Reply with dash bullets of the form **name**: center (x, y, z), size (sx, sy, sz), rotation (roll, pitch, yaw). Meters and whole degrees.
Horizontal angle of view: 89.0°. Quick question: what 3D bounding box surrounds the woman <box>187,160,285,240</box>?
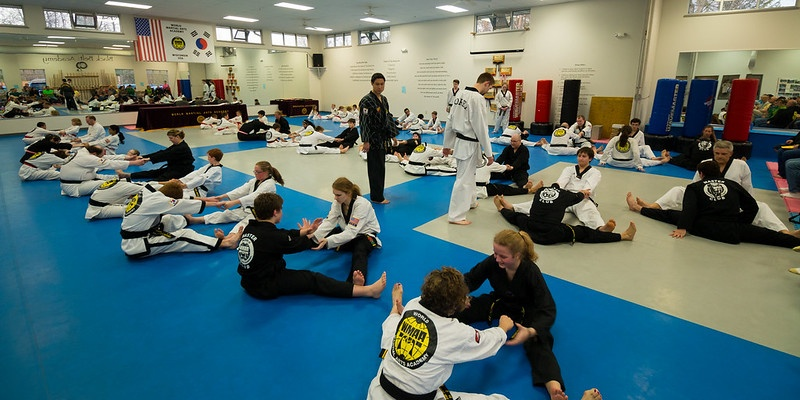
- **woman**: center (-4.103, -0.042, 10.629), size (2.555, 1.487, 1.348), rotation (-18, 27, -36)

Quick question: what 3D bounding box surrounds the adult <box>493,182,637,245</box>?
- **adult**: center (4.072, 0.315, 10.653), size (3.616, 1.090, 1.947), rotation (10, 18, 33)

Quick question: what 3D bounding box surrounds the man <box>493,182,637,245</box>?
- **man**: center (4.022, 0.311, 10.673), size (3.521, 1.052, 1.959), rotation (13, 20, 37)

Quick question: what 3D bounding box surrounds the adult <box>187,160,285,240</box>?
- **adult**: center (-4.138, -0.038, 10.621), size (2.560, 1.475, 1.354), rotation (-17, 26, -33)
